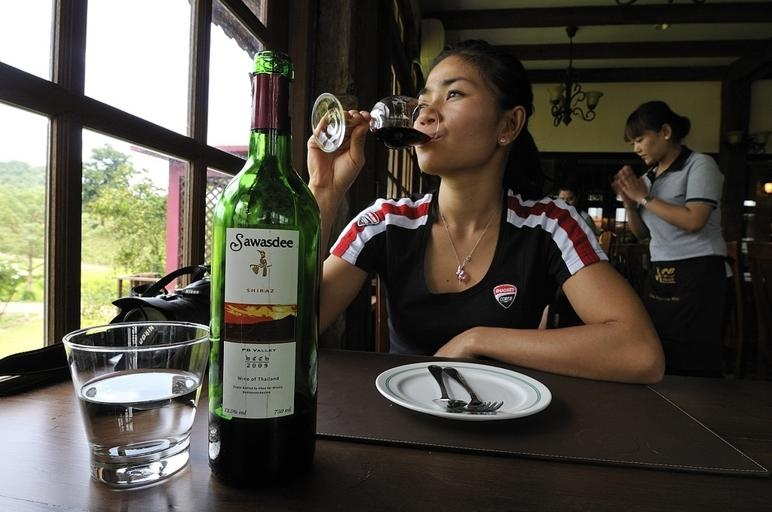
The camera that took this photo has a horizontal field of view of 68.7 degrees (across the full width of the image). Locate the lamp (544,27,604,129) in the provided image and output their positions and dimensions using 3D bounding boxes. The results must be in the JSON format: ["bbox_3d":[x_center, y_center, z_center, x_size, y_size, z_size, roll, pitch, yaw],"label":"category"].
[{"bbox_3d":[1.901,-1.939,5.947,0.631,0.981,0.534,1,5,-20],"label":"lamp"}]

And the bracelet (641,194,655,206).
[{"bbox_3d":[1.303,-0.278,2.808,0.014,0.049,0.052,27,1,1],"label":"bracelet"}]

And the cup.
[{"bbox_3d":[-0.384,0.225,0.888,0.225,0.221,0.214,1,4,0],"label":"cup"}]

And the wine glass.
[{"bbox_3d":[-0.019,-0.357,1.516,0.331,0.140,0.152,-6,14,-20],"label":"wine glass"}]

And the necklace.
[{"bbox_3d":[0.253,-0.050,1.704,0.284,0.345,0.039,-1,-21,12],"label":"necklace"}]
